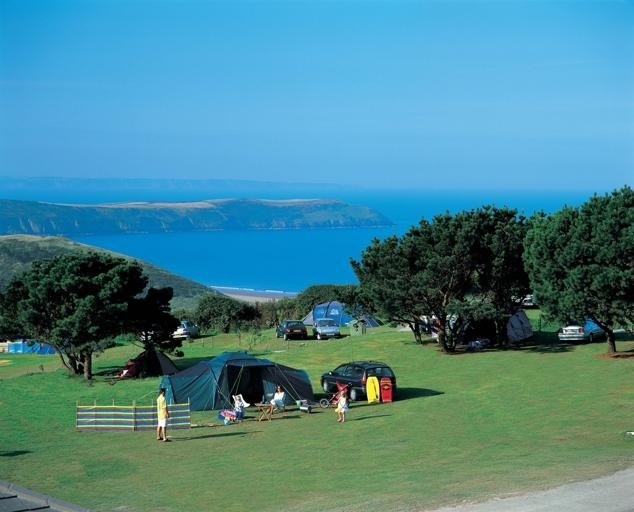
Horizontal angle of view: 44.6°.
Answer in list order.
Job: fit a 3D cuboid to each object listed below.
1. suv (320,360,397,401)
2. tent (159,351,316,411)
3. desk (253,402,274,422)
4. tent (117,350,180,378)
[{"bbox_3d":[1.566,6.129,37.451,4.019,1.702,4.022,-6,-1,32],"label":"suv"},{"bbox_3d":[-3.722,5.862,36.384,7.038,2.584,2.475,-3,-4,-9],"label":"tent"},{"bbox_3d":[-2.357,6.968,34.566,0.780,0.572,0.693,0,-3,-7],"label":"desk"},{"bbox_3d":[-10.368,6.769,46.940,3.912,1.398,2.843,-6,-1,18],"label":"tent"}]
